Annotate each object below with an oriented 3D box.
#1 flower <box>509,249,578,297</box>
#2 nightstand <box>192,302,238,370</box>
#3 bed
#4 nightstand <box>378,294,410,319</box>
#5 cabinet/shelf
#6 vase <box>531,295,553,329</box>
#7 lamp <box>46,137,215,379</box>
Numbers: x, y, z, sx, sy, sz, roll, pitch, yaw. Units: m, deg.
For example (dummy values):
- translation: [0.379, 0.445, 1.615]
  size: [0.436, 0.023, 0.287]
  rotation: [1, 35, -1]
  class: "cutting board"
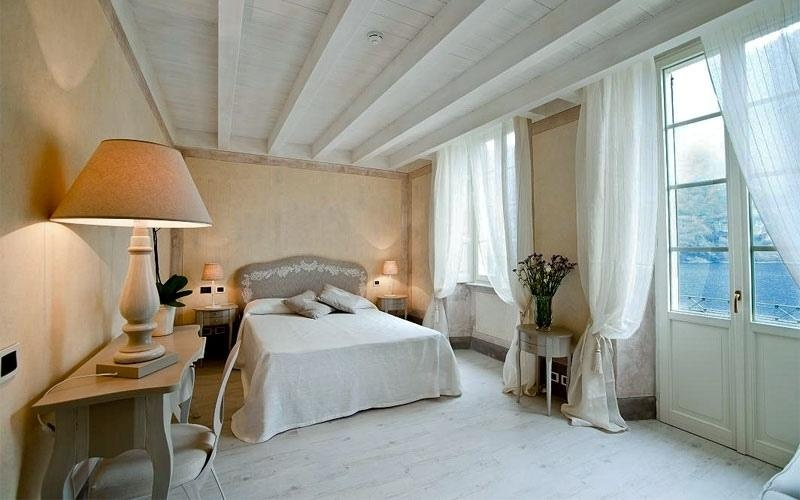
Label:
- translation: [1.685, 0.279, 5.850]
  size: [0.646, 0.427, 0.649]
  rotation: [1, 6, -9]
  class: "flower"
- translation: [-2.523, 1.074, 7.023]
  size: [0.515, 0.628, 0.474]
  rotation: [-1, 1, -11]
  class: "nightstand"
- translation: [-1.069, 1.044, 6.423]
  size: [1.977, 1.171, 2.315]
  rotation: [1, -2, -27]
  class: "bed"
- translation: [-0.035, 0.857, 8.182]
  size: [0.485, 0.483, 0.371]
  rotation: [-2, 1, -35]
  class: "nightstand"
- translation: [1.594, 1.301, 5.677]
  size: [0.496, 0.850, 0.658]
  rotation: [-4, 6, -34]
  class: "cabinet/shelf"
- translation: [1.618, 0.694, 5.710]
  size: [0.247, 0.374, 0.250]
  rotation: [-1, -7, 34]
  class: "vase"
- translation: [-2.453, -0.062, 4.709]
  size: [1.559, 2.167, 1.526]
  rotation: [0, 4, -12]
  class: "lamp"
